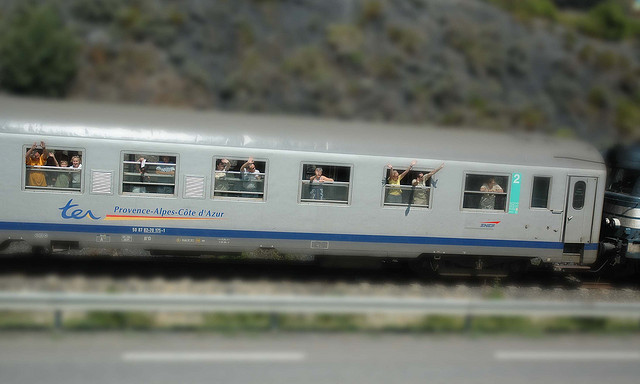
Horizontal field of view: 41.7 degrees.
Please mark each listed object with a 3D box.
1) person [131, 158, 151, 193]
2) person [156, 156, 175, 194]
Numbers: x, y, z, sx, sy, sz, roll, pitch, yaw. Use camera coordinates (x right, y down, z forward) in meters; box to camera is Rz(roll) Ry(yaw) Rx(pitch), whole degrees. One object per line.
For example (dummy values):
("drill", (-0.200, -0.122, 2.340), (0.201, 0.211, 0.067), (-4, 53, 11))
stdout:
("person", (-5.417, -0.509, 25.752), (0.532, 1.057, 0.116), (1, 9, -11))
("person", (-4.685, -0.503, 25.671), (0.657, 1.019, 0.244), (3, 8, -1))
